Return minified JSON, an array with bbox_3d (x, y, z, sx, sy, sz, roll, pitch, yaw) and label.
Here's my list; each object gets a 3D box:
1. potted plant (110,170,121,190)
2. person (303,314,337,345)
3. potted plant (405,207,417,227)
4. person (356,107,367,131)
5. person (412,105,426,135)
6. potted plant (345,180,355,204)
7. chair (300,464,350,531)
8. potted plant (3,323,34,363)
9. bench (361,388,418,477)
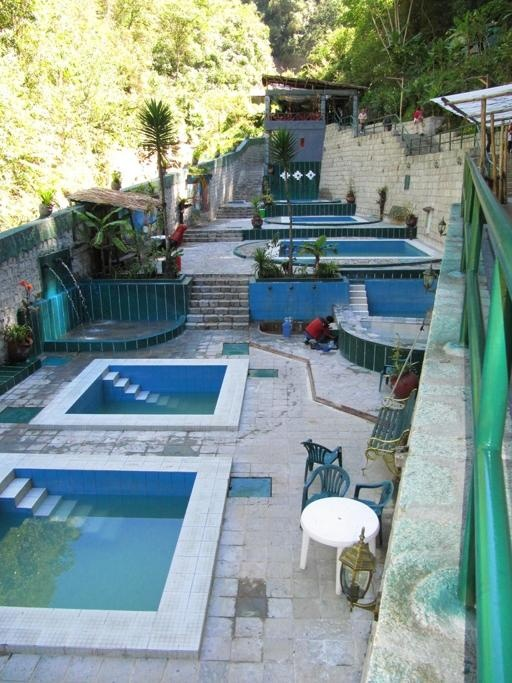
[{"bbox_3d":[-4.754,-5.476,16.463,0.301,0.581,1.279,-6,18,-15],"label":"potted plant"},{"bbox_3d":[1.739,-0.272,12.363,0.969,0.718,0.661,-13,21,-33],"label":"person"},{"bbox_3d":[6.668,-5.437,21.189,0.445,0.756,0.887,-2,18,-4],"label":"potted plant"},{"bbox_3d":[5.875,-12.412,27.184,0.473,1.291,1.531,3,18,12],"label":"person"},{"bbox_3d":[7.495,-10.124,22.469,0.492,1.064,0.921,4,19,13],"label":"person"},{"bbox_3d":[5.237,-8.313,27.272,0.454,1.138,1.049,-2,18,-4],"label":"potted plant"},{"bbox_3d":[0.954,1.936,6.448,0.646,0.865,0.630,10,16,31],"label":"chair"},{"bbox_3d":[-5.285,0.034,10.875,0.458,0.854,0.628,4,19,14],"label":"potted plant"},{"bbox_3d":[1.744,1.232,6.466,0.569,0.648,1.373,7,25,15],"label":"bench"}]
